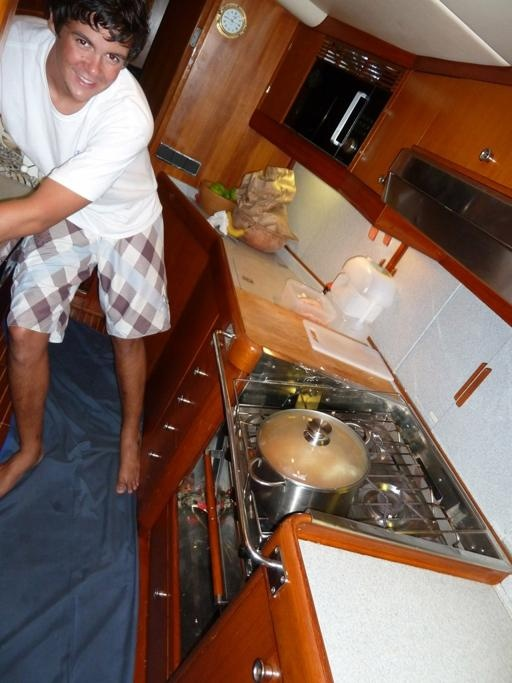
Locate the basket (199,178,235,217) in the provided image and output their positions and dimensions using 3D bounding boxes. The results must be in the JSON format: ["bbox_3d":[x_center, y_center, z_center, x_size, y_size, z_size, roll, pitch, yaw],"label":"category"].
[{"bbox_3d":[-0.199,-0.720,2.235,0.185,0.114,0.170,24,28,1],"label":"basket"}]

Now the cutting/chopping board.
[{"bbox_3d":[0.277,0.019,1.385,0.318,0.064,0.260,30,27,-22],"label":"cutting/chopping board"}]

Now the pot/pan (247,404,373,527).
[{"bbox_3d":[0.083,0.273,0.864,0.225,0.149,0.166,-28,54,-37],"label":"pot/pan"}]

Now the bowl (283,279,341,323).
[{"bbox_3d":[0.185,-0.152,1.614,0.139,0.083,0.195,27,19,-17],"label":"bowl"}]

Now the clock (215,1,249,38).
[{"bbox_3d":[-0.118,-1.539,2.112,0.130,0.132,0.033,10,17,-13],"label":"clock"}]

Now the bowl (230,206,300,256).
[{"bbox_3d":[0.037,-0.594,2.151,0.341,0.202,0.363,-2,31,1],"label":"bowl"}]

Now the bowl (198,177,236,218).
[{"bbox_3d":[-0.200,-0.722,2.232,0.190,0.118,0.176,16,30,-9],"label":"bowl"}]
